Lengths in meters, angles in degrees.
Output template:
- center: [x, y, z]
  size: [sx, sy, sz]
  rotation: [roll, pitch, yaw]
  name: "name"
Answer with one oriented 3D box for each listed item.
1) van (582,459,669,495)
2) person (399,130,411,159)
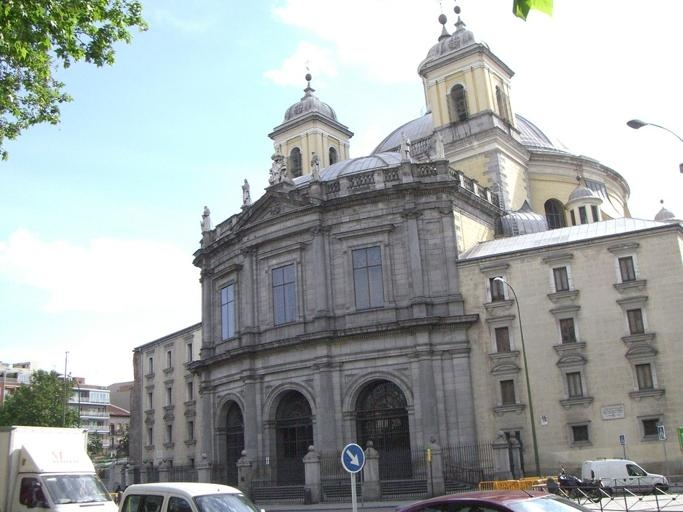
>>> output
- center: [14.815, 11.495, 40.909]
  size: [4.204, 2.104, 2.541]
  rotation: [-4, -16, 1]
  name: "van"
- center: [4.265, -6.942, 51.697]
  size: [0.524, 2.072, 0.838]
  rotation: [-6, -19, 11]
  name: "person"
